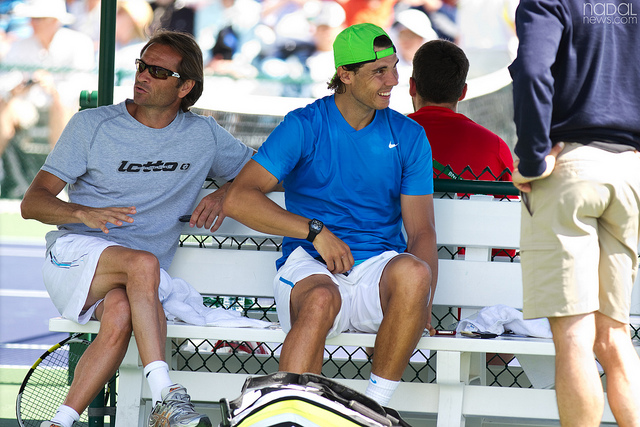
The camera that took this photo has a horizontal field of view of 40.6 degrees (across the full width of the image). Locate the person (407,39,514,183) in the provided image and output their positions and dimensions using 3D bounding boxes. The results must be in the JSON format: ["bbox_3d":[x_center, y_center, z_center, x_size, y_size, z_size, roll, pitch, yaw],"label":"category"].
[{"bbox_3d":[0.801,-0.706,6.224,1.281,1.020,0.598,2,8,1],"label":"person"}]

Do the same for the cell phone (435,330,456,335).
[{"bbox_3d":[0.739,0.695,5.082,0.120,0.014,0.127,4,5,7],"label":"cell phone"}]

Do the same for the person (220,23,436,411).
[{"bbox_3d":[0.123,-0.044,5.084,1.158,2.154,0.823,4,5,6],"label":"person"}]

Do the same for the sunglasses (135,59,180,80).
[{"bbox_3d":[-1.023,-0.903,5.451,0.274,0.118,0.077,2,5,-9],"label":"sunglasses"}]

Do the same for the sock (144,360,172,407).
[{"bbox_3d":[-0.903,0.946,4.817,0.145,0.245,0.166,2,5,-15],"label":"sock"}]
